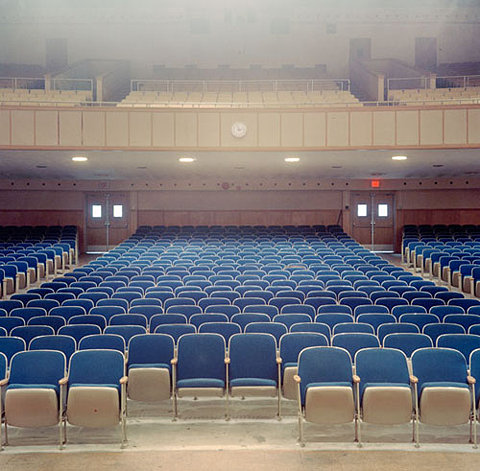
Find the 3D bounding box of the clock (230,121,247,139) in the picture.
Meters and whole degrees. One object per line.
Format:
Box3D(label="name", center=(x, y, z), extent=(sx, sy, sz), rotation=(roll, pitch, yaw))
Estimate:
Box3D(label="clock", center=(-0.034, -2.260, 11.775), extent=(0.347, 0.366, 0.097), rotation=(0, 12, -2))
